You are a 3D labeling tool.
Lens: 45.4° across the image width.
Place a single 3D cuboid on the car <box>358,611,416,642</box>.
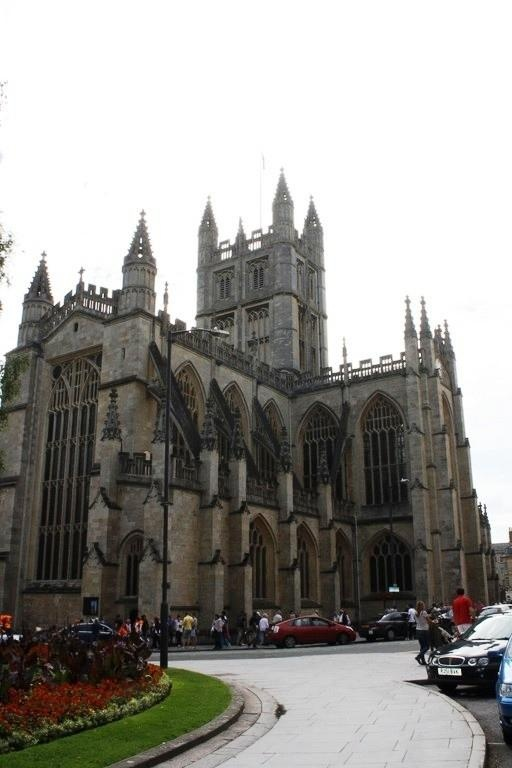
[{"bbox_3d":[6.452,11.906,30.231,2.849,1.051,1.231,14,-22,-40],"label":"car"}]
